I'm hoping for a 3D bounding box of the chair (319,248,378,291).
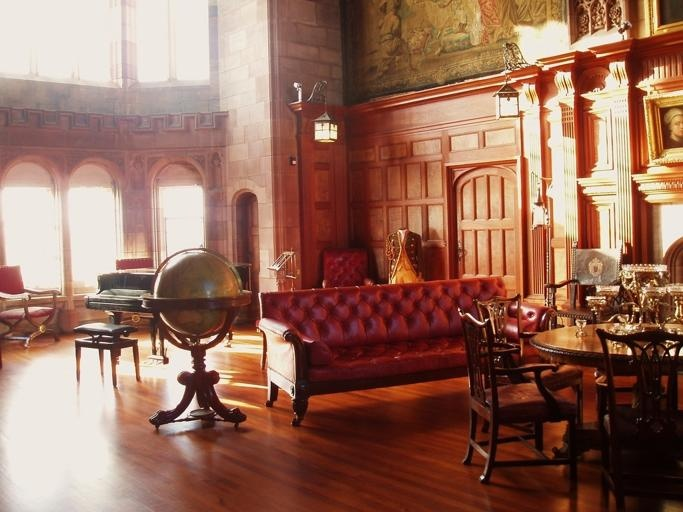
[{"bbox_3d":[0.117,0.224,11.031,0.731,0.789,0.799,1,3,-32],"label":"chair"}]

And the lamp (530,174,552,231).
[{"bbox_3d":[3.032,-0.815,8.832,0.299,0.824,0.198,0,5,21],"label":"lamp"}]

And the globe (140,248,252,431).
[{"bbox_3d":[-1.474,0.787,5.900,0.964,1.846,0.887,2,2,-24],"label":"globe"}]

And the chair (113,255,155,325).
[{"bbox_3d":[-3.774,0.532,10.746,0.623,1.369,0.538,5,4,34],"label":"chair"}]

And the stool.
[{"bbox_3d":[-2.990,1.175,7.574,0.783,0.878,0.747,6,4,-33],"label":"stool"}]

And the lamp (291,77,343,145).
[{"bbox_3d":[-0.479,-2.610,10.461,0.757,1.288,1.612,-2,5,-4],"label":"lamp"}]

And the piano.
[{"bbox_3d":[-2.929,0.849,8.048,1.206,1.315,0.922,-3,-4,30],"label":"piano"}]
